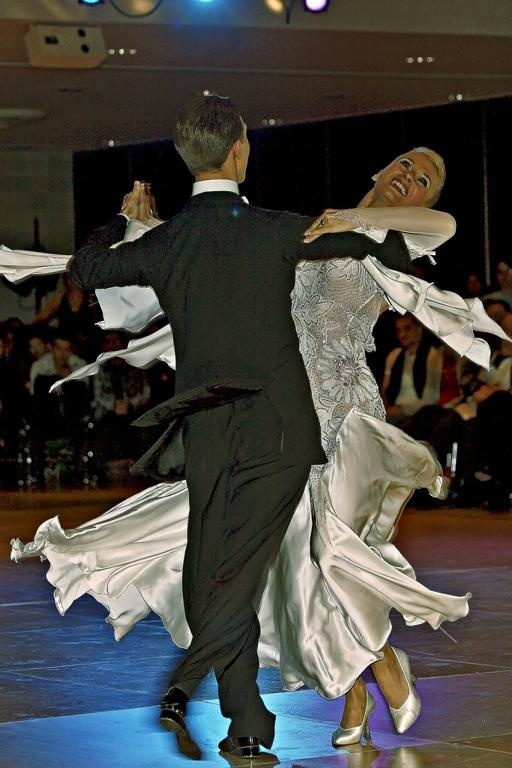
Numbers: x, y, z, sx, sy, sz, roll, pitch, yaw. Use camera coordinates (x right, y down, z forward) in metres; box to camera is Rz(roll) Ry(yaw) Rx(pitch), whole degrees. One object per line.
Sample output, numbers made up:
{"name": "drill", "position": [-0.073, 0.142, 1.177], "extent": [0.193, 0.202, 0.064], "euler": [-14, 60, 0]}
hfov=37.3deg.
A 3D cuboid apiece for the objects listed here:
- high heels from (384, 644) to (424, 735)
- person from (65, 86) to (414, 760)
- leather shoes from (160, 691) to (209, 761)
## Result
{"name": "high heels", "position": [0.360, 0.757, 1.879], "extent": [0.078, 0.198, 0.087], "euler": [-21, -37, 26]}
{"name": "person", "position": [-0.032, 0.097, 1.579], "extent": [0.726, 1.364, 0.314], "euler": [-5, -3, 9]}
{"name": "leather shoes", "position": [-0.111, 0.671, 1.501], "extent": [0.075, 0.089, 0.212], "euler": [-17, -32, 4]}
